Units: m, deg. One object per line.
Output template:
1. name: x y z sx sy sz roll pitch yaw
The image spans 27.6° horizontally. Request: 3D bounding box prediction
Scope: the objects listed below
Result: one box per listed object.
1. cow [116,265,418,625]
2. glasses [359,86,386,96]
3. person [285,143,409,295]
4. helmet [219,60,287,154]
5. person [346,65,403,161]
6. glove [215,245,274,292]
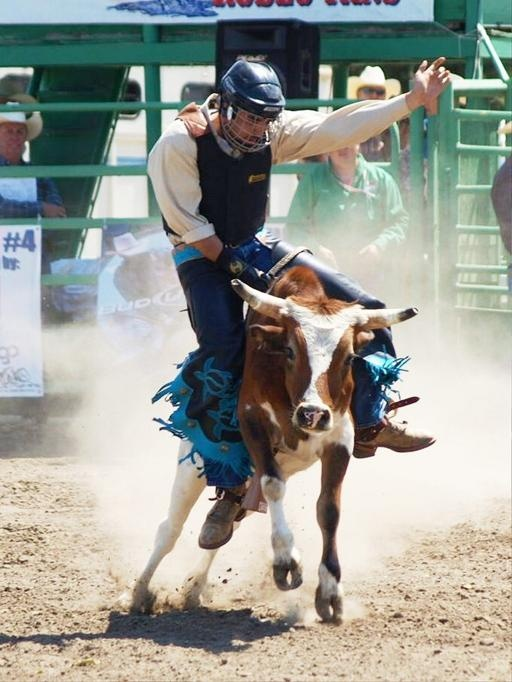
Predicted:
1. cow: 0.144 0.479 4.404 0.658 1.567 1.017 -9 14 -33
2. glasses: 1.050 -2.243 9.380 0.166 0.039 0.149 2 -6 -5
3. person: 0.604 -0.850 6.861 0.870 0.899 0.326 3 13 0
4. helmet: -0.013 -0.989 4.333 0.229 0.369 0.231 -4 12 -14
5. person: 1.010 -2.043 9.643 0.453 0.975 0.433 18 42 3
6. glove: -0.046 -0.309 4.482 0.111 0.264 0.082 -14 -13 -47
